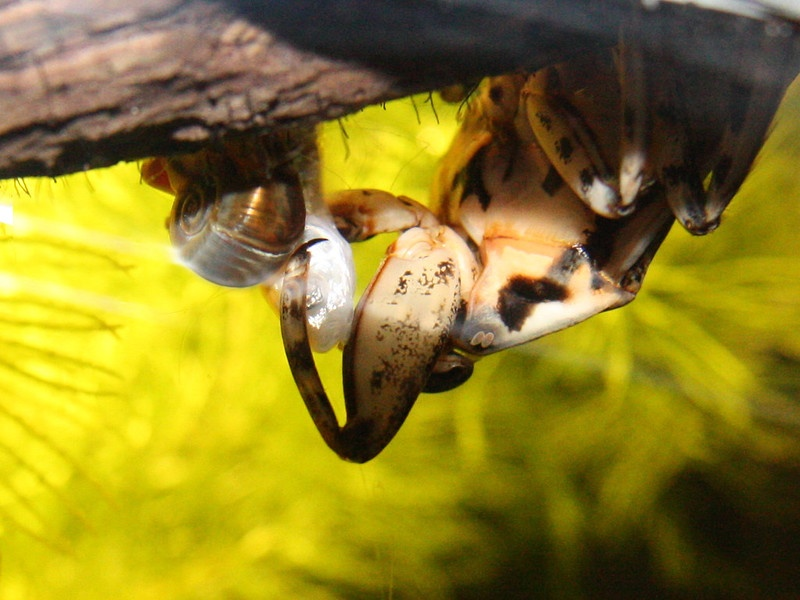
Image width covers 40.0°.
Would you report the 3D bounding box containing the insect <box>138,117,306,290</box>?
[{"bbox_3d":[-0.180,-0.129,1.275,0.206,0.074,0.158,47,39,9],"label":"insect"}]
